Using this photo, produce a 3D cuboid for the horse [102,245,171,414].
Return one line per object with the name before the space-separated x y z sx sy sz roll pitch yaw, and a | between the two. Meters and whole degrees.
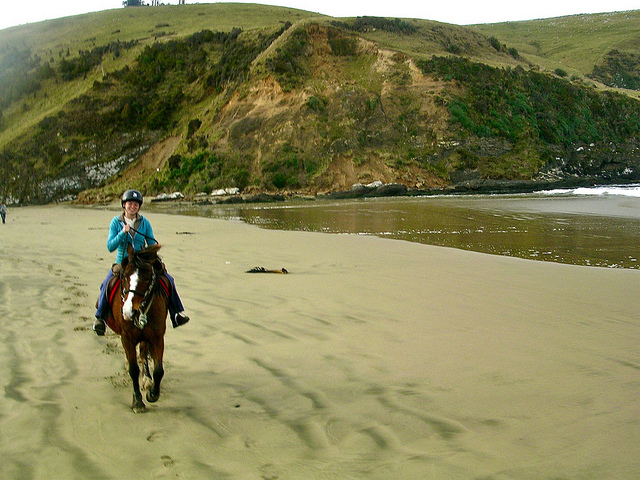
horse | -3.606 1.651 11.529 1.051 3.192 1.307 -5 11 -26
